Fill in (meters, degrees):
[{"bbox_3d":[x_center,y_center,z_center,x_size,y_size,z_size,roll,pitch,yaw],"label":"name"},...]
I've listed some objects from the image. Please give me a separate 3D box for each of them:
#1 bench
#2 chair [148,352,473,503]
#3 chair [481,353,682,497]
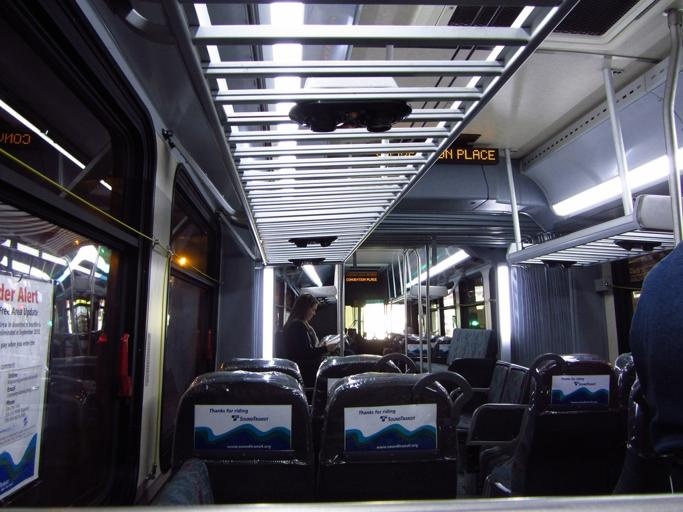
[{"bbox_3d":[1.608,1.395,5.168,0.592,0.982,1.490,0,-16,3],"label":"bench"},{"bbox_3d":[-0.118,0.891,2.181,1.273,0.752,0.621,-3,-9,-27],"label":"chair"},{"bbox_3d":[1.645,1.288,3.575,0.992,1.502,1.165,3,-9,-2],"label":"chair"}]
